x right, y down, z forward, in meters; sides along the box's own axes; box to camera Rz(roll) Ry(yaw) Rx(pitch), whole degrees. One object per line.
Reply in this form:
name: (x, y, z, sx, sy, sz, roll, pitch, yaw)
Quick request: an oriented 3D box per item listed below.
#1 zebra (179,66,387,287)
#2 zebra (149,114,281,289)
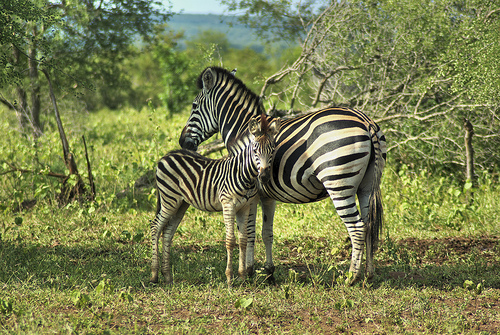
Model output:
zebra: (0.738, 0.406, 16.142, 4.775, 4.725, 1.531, 1, 4, 21)
zebra: (-0.686, 0.883, 15.830, 3.511, 4.598, 1.323, 0, -5, 20)
